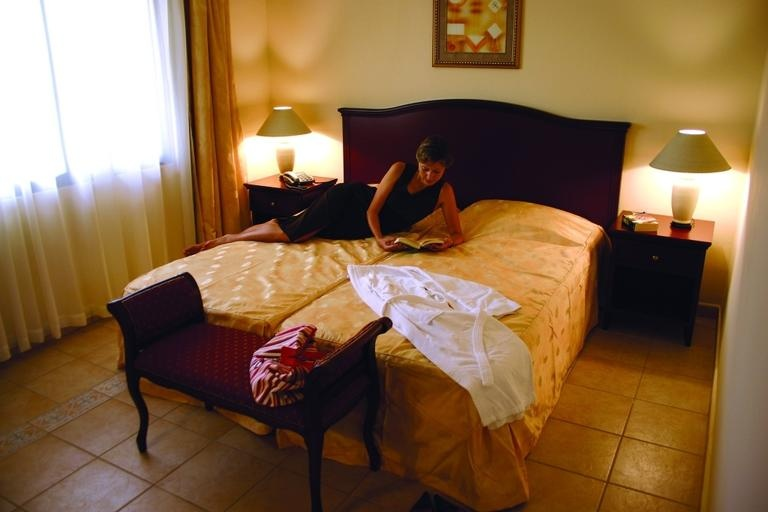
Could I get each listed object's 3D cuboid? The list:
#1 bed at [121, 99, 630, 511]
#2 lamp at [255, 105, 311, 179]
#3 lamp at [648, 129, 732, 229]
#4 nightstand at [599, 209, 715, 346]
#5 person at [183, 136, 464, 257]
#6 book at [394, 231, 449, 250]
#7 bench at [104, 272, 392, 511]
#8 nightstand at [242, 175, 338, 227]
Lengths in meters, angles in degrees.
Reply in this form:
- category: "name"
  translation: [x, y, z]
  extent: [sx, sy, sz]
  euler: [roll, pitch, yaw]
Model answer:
- category: "bed"
  translation: [0.013, 0.300, 3.435]
  extent: [2.231, 1.688, 0.855]
  euler: [14, 23, 26]
- category: "lamp"
  translation: [-0.886, -1.045, 5.065]
  extent: [0.609, 0.650, 0.602]
  euler: [0, 24, 2]
- category: "lamp"
  translation: [2.199, -0.536, 3.936]
  extent: [0.532, 0.710, 0.547]
  euler: [-4, 15, -12]
- category: "nightstand"
  translation: [2.066, 0.053, 4.140]
  extent: [0.727, 0.757, 0.603]
  euler: [15, 37, 36]
- category: "person"
  translation: [-0.476, -0.463, 4.248]
  extent: [2.125, 0.850, 0.754]
  euler: [1, 1, 16]
- category: "book"
  translation: [0.266, -0.127, 3.992]
  extent: [0.367, 0.108, 0.412]
  euler: [5, 21, 6]
- category: "bench"
  translation: [-0.713, 0.775, 2.926]
  extent: [1.026, 0.631, 0.408]
  euler: [13, 27, 24]
- category: "nightstand"
  translation: [-0.879, -0.690, 4.939]
  extent: [0.605, 0.587, 0.488]
  euler: [17, 29, 26]
